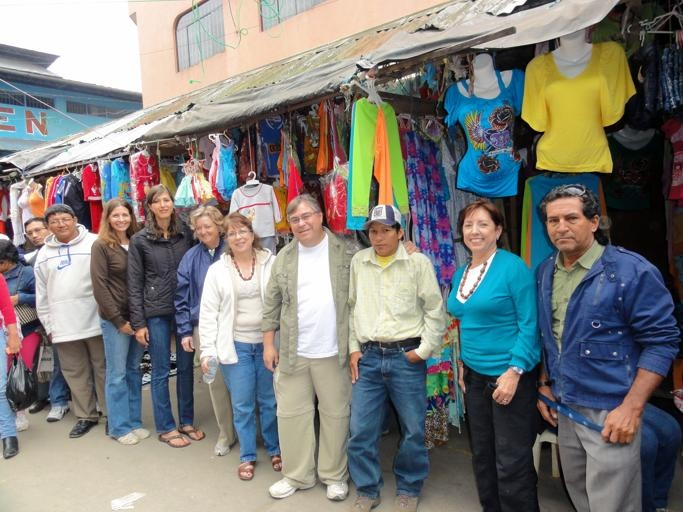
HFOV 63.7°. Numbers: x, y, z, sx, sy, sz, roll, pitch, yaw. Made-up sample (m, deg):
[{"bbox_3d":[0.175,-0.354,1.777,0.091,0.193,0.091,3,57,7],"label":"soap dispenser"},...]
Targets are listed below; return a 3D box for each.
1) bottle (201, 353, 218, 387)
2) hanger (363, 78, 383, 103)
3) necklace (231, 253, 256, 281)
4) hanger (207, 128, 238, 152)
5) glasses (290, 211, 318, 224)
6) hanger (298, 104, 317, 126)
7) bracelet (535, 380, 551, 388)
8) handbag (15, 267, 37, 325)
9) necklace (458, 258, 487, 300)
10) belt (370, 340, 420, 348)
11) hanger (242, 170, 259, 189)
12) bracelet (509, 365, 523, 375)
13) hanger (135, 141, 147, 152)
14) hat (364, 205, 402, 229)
[{"bbox_3d":[-1.156,1.005,4.841,0.111,0.269,0.127,-13,14,-41],"label":"bottle"},{"bbox_3d":[0.257,-1.336,4.491,0.080,0.199,0.214,1,11,21],"label":"hanger"},{"bbox_3d":[-0.864,0.120,4.946,0.154,0.256,0.067,-10,-8,-17],"label":"necklace"},{"bbox_3d":[-1.284,-1.280,6.015,0.024,0.293,0.272,-9,14,40],"label":"hanger"},{"bbox_3d":[-0.316,-0.305,4.447,0.207,0.097,0.072,-4,10,-5],"label":"glasses"},{"bbox_3d":[-0.348,-1.464,5.674,0.178,0.179,0.049,-15,-1,34],"label":"hanger"},{"bbox_3d":[1.426,0.899,3.882,0.051,0.021,0.054,0,-41,-9],"label":"bracelet"},{"bbox_3d":[-3.531,0.470,6.161,0.228,0.554,0.379,-14,-23,-35],"label":"handbag"},{"bbox_3d":[0.930,0.169,3.983,0.038,0.256,0.202,16,-8,-19],"label":"necklace"},{"bbox_3d":[0.444,0.665,4.208,0.308,0.068,0.047,-3,10,2],"label":"belt"},{"bbox_3d":[-0.970,-0.826,5.909,0.257,0.165,0.006,-6,9,-26],"label":"hanger"},{"bbox_3d":[1.194,0.778,3.761,0.083,0.060,0.019,1,11,21],"label":"bracelet"},{"bbox_3d":[-2.355,-1.306,6.490,0.128,0.133,0.048,4,22,9],"label":"hanger"},{"bbox_3d":[0.319,-0.303,4.238,0.264,0.182,0.172,-3,10,2],"label":"hat"}]
